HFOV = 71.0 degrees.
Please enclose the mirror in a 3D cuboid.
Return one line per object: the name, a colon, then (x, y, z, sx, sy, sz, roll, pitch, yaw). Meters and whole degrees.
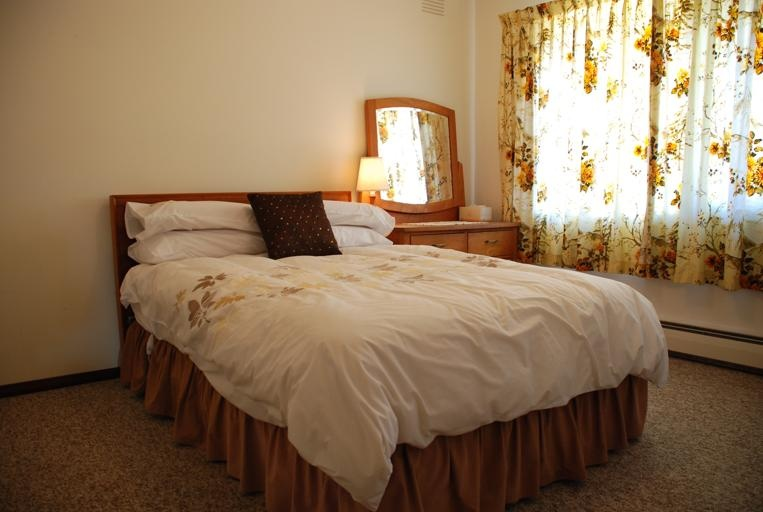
mirror: (0.257, -0.907, 4.829, 1.084, 1.349, 0.057, -3, -1, -35)
